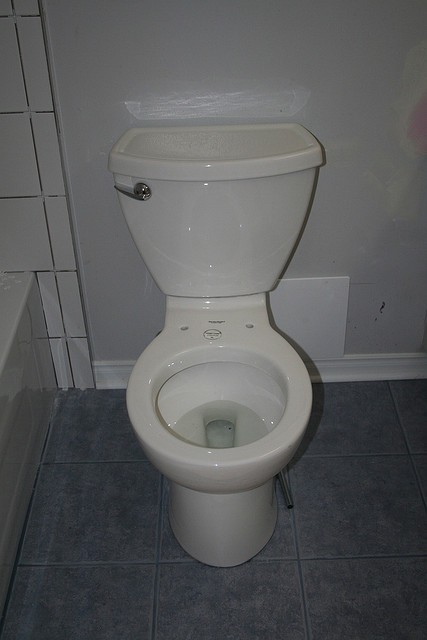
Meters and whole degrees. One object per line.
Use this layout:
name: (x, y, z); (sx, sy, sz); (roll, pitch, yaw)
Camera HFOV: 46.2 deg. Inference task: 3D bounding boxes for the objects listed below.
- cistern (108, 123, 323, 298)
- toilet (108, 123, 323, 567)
cistern: (0.008, -0.172, 1.078); (0.475, 0.353, 0.323); (-1, 40, 1)
toilet: (0.009, 0.075, 1.061); (0.389, 0.784, 0.593); (-2, 35, 0)
